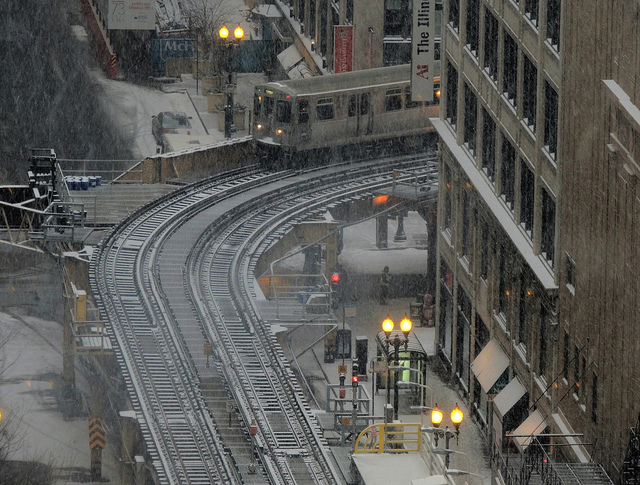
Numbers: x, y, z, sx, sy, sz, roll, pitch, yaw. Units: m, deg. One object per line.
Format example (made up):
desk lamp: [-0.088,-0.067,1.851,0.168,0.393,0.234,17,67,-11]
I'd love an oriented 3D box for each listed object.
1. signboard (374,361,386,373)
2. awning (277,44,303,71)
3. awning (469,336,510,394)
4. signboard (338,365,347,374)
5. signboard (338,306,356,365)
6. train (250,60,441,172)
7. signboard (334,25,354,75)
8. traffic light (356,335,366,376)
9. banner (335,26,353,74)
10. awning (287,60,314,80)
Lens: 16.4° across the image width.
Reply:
signboard: [2.319,4.717,84.668,0.427,0.537,0.349,1,3,-14]
awning: [-1.667,-10.405,127.364,1.220,0.351,1.451,-33,39,8]
awning: [6.549,4.770,84.685,0.869,2.069,2.435,-6,13,-11]
signboard: [0.870,4.895,86.109,0.298,0.367,0.330,0,-1,1]
signboard: [1.195,4.087,95.555,0.782,3.293,0.420,-4,35,-2]
train: [1.175,-5.629,104.163,8.156,4.621,2.107,-14,15,-30]
signboard: [1.248,-9.671,116.238,1.059,0.265,3.563,2,49,0]
traffic light: [1.780,4.786,92.523,0.405,1.568,0.779,-4,12,1]
banner: [1.285,-9.728,116.298,1.081,0.262,3.332,-1,54,2]
awning: [-1.086,-9.460,124.928,1.428,0.461,3.353,-6,14,-1]
